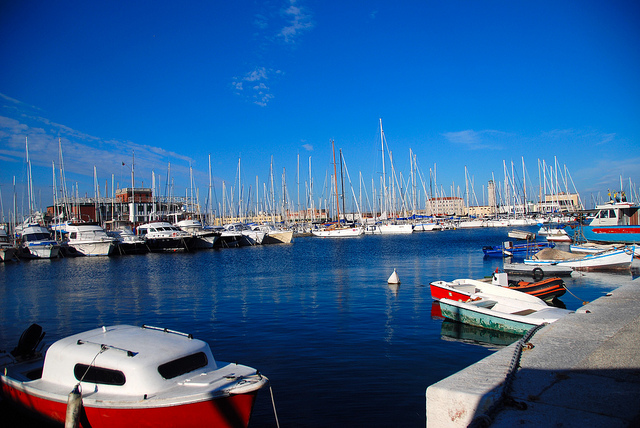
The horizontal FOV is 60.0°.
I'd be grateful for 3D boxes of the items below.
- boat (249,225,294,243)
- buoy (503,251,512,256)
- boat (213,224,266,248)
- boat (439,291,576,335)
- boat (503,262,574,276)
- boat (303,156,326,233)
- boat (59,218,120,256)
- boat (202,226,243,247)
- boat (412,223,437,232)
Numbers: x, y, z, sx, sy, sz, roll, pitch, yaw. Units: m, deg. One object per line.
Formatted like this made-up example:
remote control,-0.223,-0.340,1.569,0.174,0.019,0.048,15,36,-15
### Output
boat,-7.508,3.351,93.225,8.576,2.722,2.797,-1,0,1
buoy,17.345,3.685,51.926,0.983,0.637,0.420,-12,17,-39
boat,-13.081,3.704,89.375,9.015,2.950,2.918,-3,4,-19
boat,8.037,4.395,25.028,5.054,1.128,2.658,8,14,15
boat,14.398,3.692,37.188,3.521,0.817,1.134,-1,-4,11
boat,-1.884,1.066,136.064,3.780,12.248,2.825,3,0,-32
boat,-31.765,3.422,75.094,15.057,5.377,4.515,1,4,41
boat,-16.594,3.565,89.759,2.550,2.252,7.573,-2,0,-42
boat,23.276,3.278,127.166,2.075,2.088,7.097,-2,1,-39
